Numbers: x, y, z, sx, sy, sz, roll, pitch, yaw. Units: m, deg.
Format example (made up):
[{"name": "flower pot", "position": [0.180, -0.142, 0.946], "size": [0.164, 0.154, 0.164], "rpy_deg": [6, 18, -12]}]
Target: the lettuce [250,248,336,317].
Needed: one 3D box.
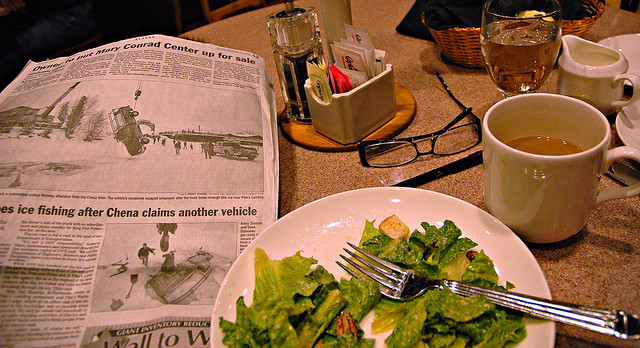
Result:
[{"name": "lettuce", "position": [-0.064, 0.202, 0.842], "size": [0.181, 0.174, 0.049], "rpy_deg": [23, 106, 0]}]

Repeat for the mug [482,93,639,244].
[{"name": "mug", "position": [0.421, -0.044, 0.938], "size": [0.384, 0.244, 0.242], "rpy_deg": [18, 53, 44]}]

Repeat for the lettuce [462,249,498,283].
[{"name": "lettuce", "position": [0.309, 0.178, 0.812], "size": [0.051, 0.016, 0.074], "rpy_deg": [-13, 30, 7]}]

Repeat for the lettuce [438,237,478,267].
[{"name": "lettuce", "position": [0.269, 0.145, 0.853], "size": [0.026, 0.049, 0.092], "rpy_deg": [-38, 88, -17]}]

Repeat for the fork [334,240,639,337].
[{"name": "fork", "position": [0.322, 0.221, 0.803], "size": [0.503, 0.051, 0.061], "rpy_deg": [13, 68, 10]}]
